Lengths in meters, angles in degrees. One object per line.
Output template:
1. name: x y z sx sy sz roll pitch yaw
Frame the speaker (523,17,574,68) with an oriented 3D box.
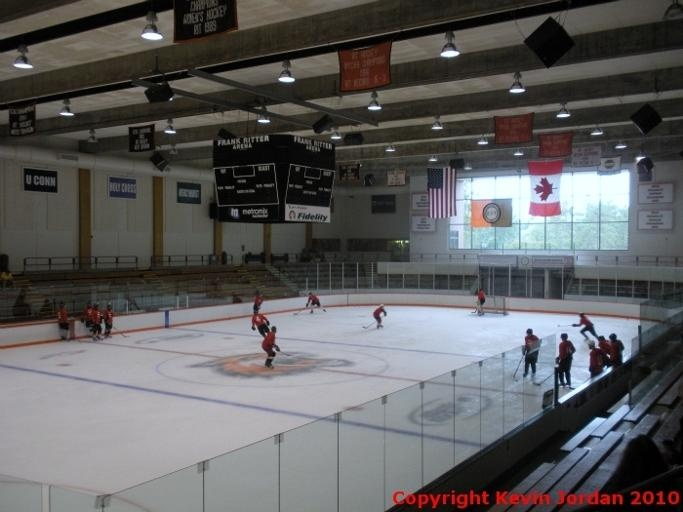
1. speaker: 4.317 -4.480 12.158 0.723 0.897 0.707 -5 6 -37

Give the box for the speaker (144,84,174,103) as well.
1. speaker: -4.925 -4.441 15.819 0.662 0.566 0.745 -3 5 -17

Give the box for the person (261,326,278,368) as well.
1. person: -2.295 2.744 18.580 0.441 1.364 1.745 -2 5 -8

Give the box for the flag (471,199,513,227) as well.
1. flag: 9.212 -2.641 36.050 1.805 1.224 0.263 -1 -5 19

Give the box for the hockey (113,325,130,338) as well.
1. hockey: -9.112 3.040 24.166 0.544 0.314 0.912 -3 5 -21

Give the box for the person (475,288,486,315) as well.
1. person: 7.345 2.356 31.070 0.335 1.355 1.285 0 5 16

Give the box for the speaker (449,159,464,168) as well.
1. speaker: 5.641 -4.623 29.213 0.591 0.222 0.660 6 -10 -40

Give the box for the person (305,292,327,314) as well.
1. person: -1.282 2.577 31.684 1.385 0.733 1.505 2 33 -13
